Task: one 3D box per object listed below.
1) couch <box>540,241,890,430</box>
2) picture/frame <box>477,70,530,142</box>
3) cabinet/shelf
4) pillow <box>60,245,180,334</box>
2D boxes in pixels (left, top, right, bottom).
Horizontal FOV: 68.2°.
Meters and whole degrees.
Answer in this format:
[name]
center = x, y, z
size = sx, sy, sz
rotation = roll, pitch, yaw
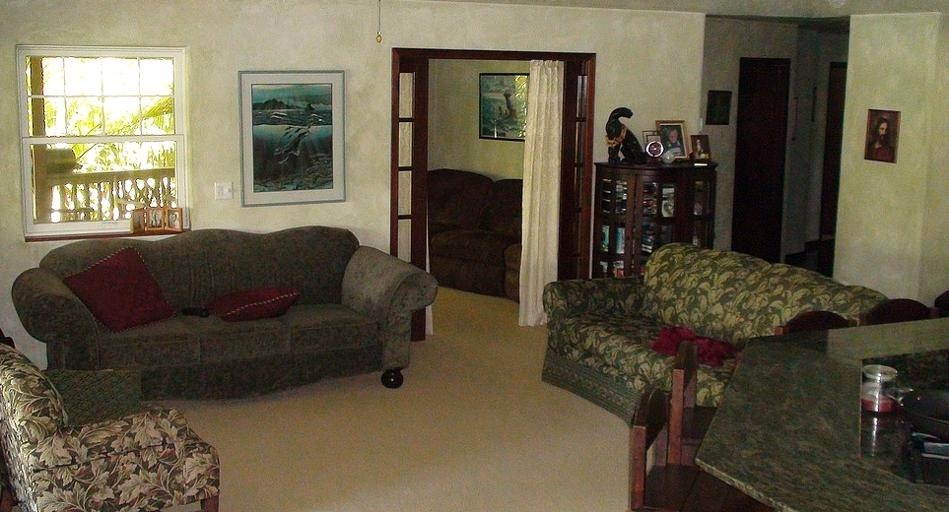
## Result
[couch]
center = 1.829, 0.500, 6.076
size = 1.655, 1.359, 3.133
rotation = -2, 7, -34
[picture/frame]
center = 0.385, -2.096, 9.831
size = 0.843, 0.976, 0.137
rotation = 8, 17, 42
[cabinet/shelf]
center = 1.926, -0.409, 7.552
size = 1.533, 1.240, 0.535
rotation = 0, 4, -2
[pillow]
center = -3.171, 0.297, 6.258
size = 0.499, 0.643, 0.653
rotation = 7, 15, 39
